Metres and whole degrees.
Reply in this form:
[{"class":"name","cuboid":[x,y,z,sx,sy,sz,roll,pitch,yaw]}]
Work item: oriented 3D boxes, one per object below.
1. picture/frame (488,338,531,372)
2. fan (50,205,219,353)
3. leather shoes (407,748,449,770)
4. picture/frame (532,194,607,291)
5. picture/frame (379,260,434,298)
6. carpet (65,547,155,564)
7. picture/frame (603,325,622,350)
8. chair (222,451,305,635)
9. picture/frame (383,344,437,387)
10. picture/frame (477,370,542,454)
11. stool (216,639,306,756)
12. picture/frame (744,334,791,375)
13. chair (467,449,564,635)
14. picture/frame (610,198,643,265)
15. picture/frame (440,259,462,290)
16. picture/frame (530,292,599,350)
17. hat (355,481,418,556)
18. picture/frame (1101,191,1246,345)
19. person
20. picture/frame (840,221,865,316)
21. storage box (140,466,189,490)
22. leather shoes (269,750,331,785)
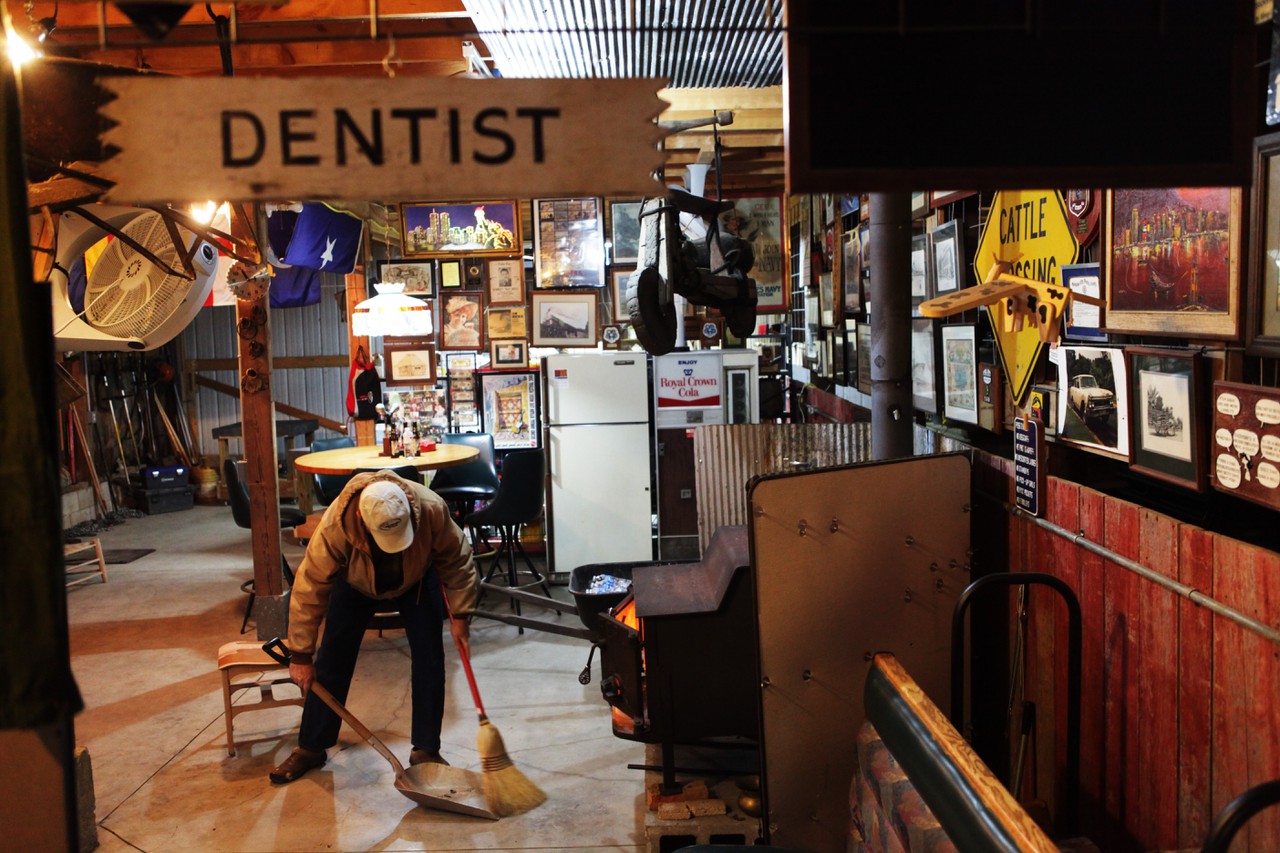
[{"class":"picture/frame","cuboid":[-1.181,-0.658,9.095,0.274,0.213,0.019,0,3,-4]},{"class":"fan","cuboid":[-2.885,-0.831,5.748,0.812,0.790,1.448,-5,9,-24]},{"class":"leather shoes","cuboid":[-1.074,1.658,5.024,0.227,0.104,0.078,1,-2,-16]},{"class":"picture/frame","cuboid":[-0.600,-1.535,8.499,0.581,0.732,0.232,-3,7,-7]},{"class":"picture/frame","cuboid":[-2.076,-1.313,8.967,0.484,0.357,0.051,1,4,4]},{"class":"carpet","cuboid":[-4.970,1.241,9.618,0.446,0.029,0.621,-2,8,1]},{"class":"picture/frame","cuboid":[-0.237,-0.768,8.672,0.207,0.290,0.040,0,-2,-6]},{"class":"chair","cuboid":[-2.838,0.891,7.640,0.553,1.328,0.566,-4,6,-28]},{"class":"picture/frame","cuboid":[-2.082,-0.559,9.090,0.563,0.435,0.310,0,8,-2]},{"class":"picture/frame","cuboid":[-1.177,-0.138,9.126,0.728,1.000,0.106,0,6,3]},{"class":"stool","cuboid":[-2.131,1.518,5.743,0.501,0.452,0.449,-17,-5,-6]},{"class":"picture/frame","cuboid":[1.300,-0.727,10.052,0.379,0.361,0.918,-1,8,4]},{"class":"chair","cuboid":[-1.062,0.718,8.031,0.616,1.247,1.387,-3,8,-7]},{"class":"picture/frame","cuboid":[-0.105,-1.669,8.616,0.297,0.535,0.031,0,13,10]},{"class":"picture/frame","cuboid":[-1.728,-1.400,9.121,0.236,0.334,0.034,1,8,8]},{"class":"picture/frame","cuboid":[-0.653,-0.927,8.558,0.466,0.405,0.038,-1,8,0]},{"class":"hat","cuboid":[-1.226,0.394,4.853,0.264,0.196,0.397,-19,54,-24]},{"class":"picture/frame","cuboid":[1.725,-0.509,3.188,0.034,0.528,0.514,0,3,-24]},{"class":"person","cuboid":[-1.367,1.012,5.175,0.903,1.540,0.626,0,8,16]},{"class":"picture/frame","cuboid":[1.417,-0.983,6.382,0.012,0.498,0.467,6,17,41]},{"class":"storage box","cuboid":[-5.708,0.620,11.978,0.488,0.297,0.246,-5,9,-24]},{"class":"leather shoes","cuboid":[-1.764,1.752,5.209,0.105,0.127,0.315,1,0,36]}]
